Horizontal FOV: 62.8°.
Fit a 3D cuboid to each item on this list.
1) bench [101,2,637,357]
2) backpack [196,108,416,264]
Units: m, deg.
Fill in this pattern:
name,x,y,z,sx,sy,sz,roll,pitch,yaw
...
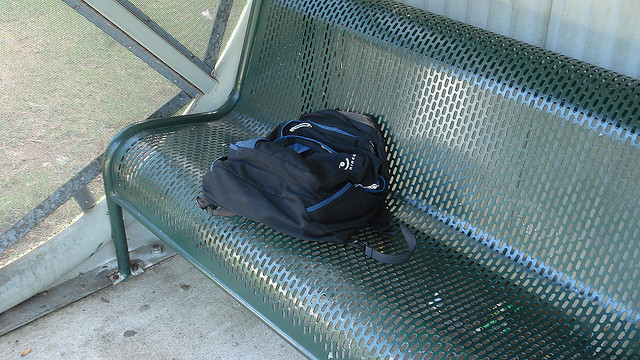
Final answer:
name,x,y,z,sx,sy,sz,roll,pitch,yaw
bench,0.278,-0.034,2.488,2.469,0.944,1.615,17,48,25
backpack,-0.071,0.030,2.485,0.913,0.323,0.647,-7,61,-8
